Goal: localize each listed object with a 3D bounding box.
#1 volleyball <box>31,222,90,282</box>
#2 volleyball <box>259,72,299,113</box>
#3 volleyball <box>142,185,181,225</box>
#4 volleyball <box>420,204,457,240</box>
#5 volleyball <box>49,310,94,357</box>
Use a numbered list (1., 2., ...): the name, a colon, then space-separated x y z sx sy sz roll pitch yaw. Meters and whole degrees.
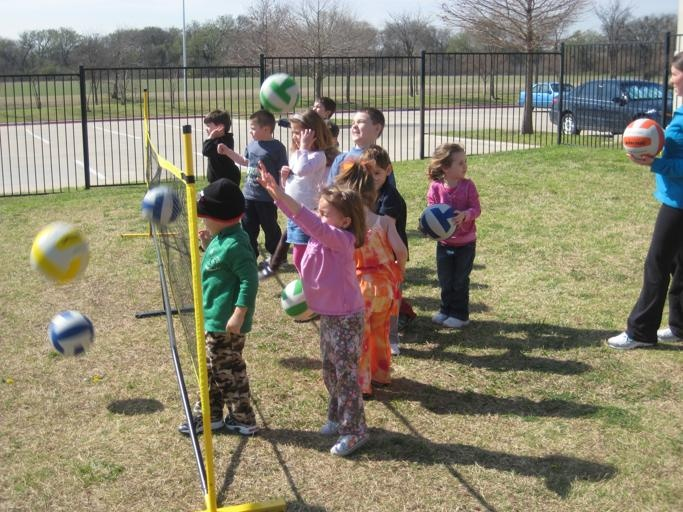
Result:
1. volleyball: -2.170 -0.020 5.763 0.412 0.466 0.253 -7 13 -25
2. volleyball: -0.746 -1.884 8.491 0.396 0.449 0.425 -5 10 -3
3. volleyball: -1.527 -0.443 6.359 0.239 0.334 0.383 6 14 32
4. volleyball: 0.894 -0.332 7.609 0.383 0.366 0.326 26 -35 -32
5. volleyball: -2.136 0.615 5.911 0.315 0.339 0.220 -6 13 -24
